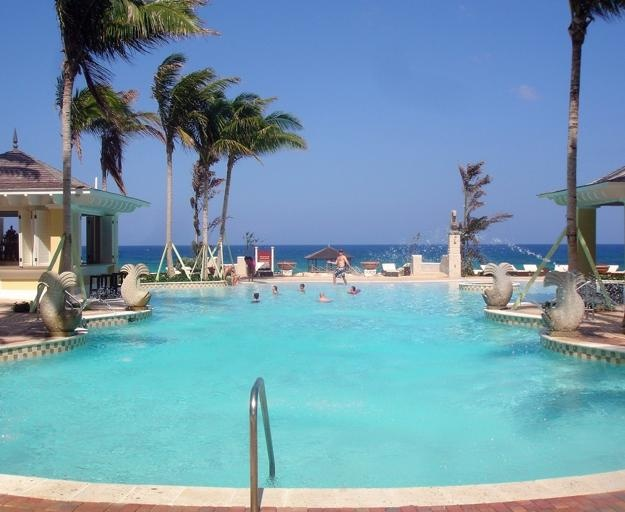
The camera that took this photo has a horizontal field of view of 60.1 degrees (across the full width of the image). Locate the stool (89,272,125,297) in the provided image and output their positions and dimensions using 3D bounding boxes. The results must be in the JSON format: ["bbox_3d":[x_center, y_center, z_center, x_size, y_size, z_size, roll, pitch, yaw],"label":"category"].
[{"bbox_3d":[-6.951,0.967,18.287,0.902,0.895,0.674,1,-1,-2],"label":"stool"}]

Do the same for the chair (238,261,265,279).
[{"bbox_3d":[-3.524,0.667,30.965,1.308,0.978,3.247,1,4,14],"label":"chair"}]

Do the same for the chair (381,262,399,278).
[{"bbox_3d":[4.725,0.816,32.517,1.157,0.595,1.240,-2,4,-20],"label":"chair"}]
